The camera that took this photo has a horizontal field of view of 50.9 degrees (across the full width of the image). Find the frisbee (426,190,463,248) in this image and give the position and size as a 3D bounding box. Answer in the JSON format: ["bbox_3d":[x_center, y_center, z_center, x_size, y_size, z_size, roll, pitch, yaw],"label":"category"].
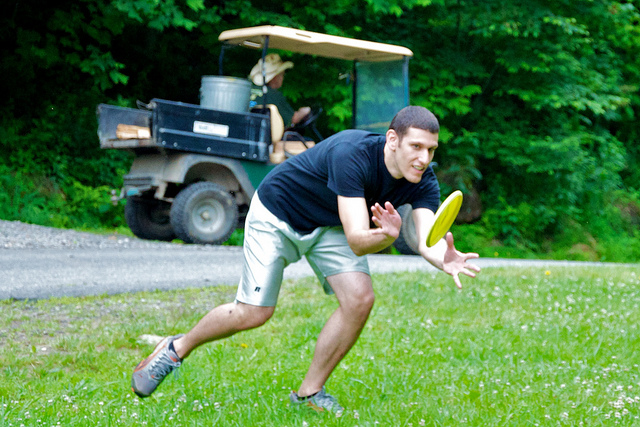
[{"bbox_3d":[1.090,0.050,5.930,0.232,0.516,0.607,6,10,23],"label":"frisbee"}]

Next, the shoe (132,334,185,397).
[{"bbox_3d":[-1.436,1.340,6.163,0.589,0.600,0.350,3,1,5],"label":"shoe"}]

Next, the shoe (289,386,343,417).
[{"bbox_3d":[0.022,1.627,6.147,0.539,0.231,0.467,5,2,27],"label":"shoe"}]
